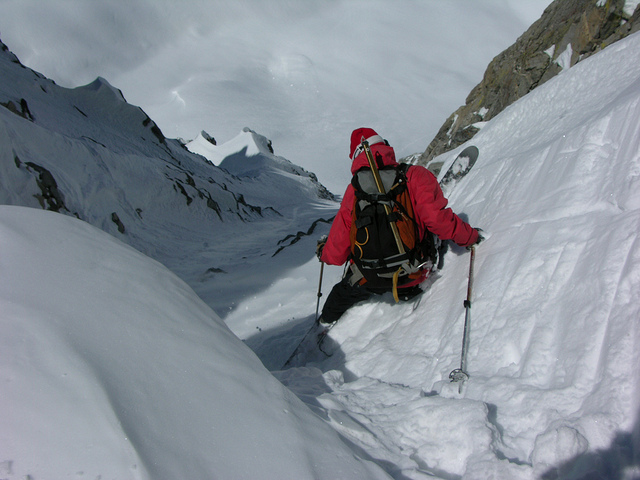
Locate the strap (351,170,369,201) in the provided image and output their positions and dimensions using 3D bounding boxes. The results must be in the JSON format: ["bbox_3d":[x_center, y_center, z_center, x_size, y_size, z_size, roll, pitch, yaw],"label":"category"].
[{"bbox_3d":[0.398,-0.569,5.776,0.213,0.282,0.112,-26,-6,22],"label":"strap"}]

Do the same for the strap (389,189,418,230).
[{"bbox_3d":[0.878,-0.269,5.716,0.099,0.581,0.054,-39,5,-23],"label":"strap"}]

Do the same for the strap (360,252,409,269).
[{"bbox_3d":[0.662,0.215,5.763,0.517,0.184,0.069,-3,28,23],"label":"strap"}]

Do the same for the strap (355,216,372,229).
[{"bbox_3d":[0.440,-0.186,5.687,0.180,0.100,0.049,-19,-4,35],"label":"strap"}]

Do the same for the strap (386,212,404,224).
[{"bbox_3d":[0.755,-0.230,5.645,0.115,0.070,0.085,8,-35,-44],"label":"strap"}]

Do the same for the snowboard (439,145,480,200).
[{"bbox_3d":[1.903,-0.939,7.819,0.164,0.262,1.109,-7,-24,-23],"label":"snowboard"}]
